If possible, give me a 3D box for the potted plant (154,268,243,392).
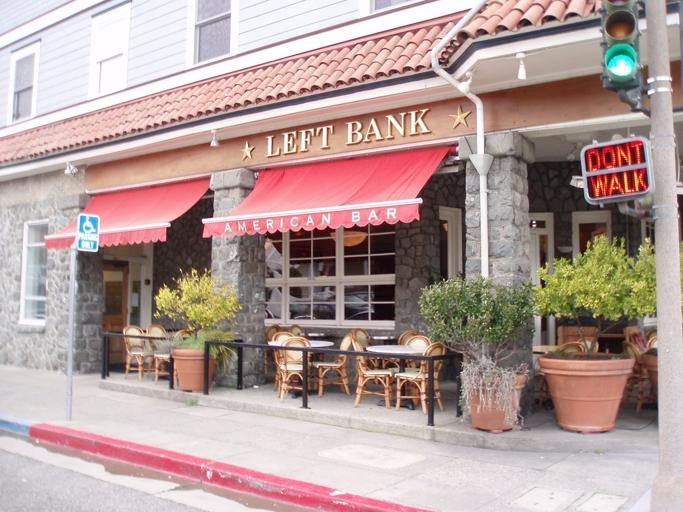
[{"bbox_3d":[-2.729,1.474,12.244,1.459,2.242,0.970,-4,-6,15],"label":"potted plant"}]

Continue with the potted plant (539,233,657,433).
[{"bbox_3d":[4.059,1.196,10.097,1.650,2.871,2.983,-4,-7,23],"label":"potted plant"}]

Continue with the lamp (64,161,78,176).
[{"bbox_3d":[-6.477,-2.101,15.094,0.281,0.499,0.286,-7,5,-25],"label":"lamp"}]
